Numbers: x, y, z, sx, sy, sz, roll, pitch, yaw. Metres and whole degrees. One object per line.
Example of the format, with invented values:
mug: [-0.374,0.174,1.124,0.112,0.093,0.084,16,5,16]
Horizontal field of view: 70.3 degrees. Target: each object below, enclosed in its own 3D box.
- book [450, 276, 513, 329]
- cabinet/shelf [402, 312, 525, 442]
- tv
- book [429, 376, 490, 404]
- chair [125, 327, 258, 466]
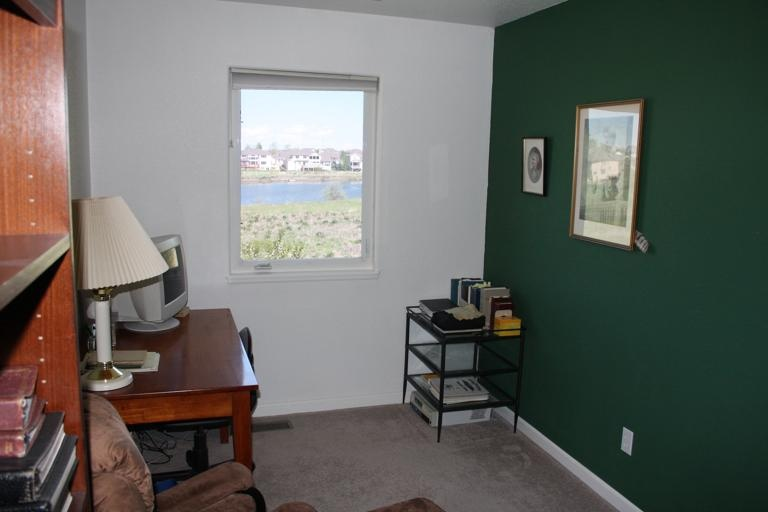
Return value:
book: [0.747,0.252,4.308,0.305,0.572,0.587,-3,10,-15]
cabinet/shelf: [0.610,0.902,4.317,0.800,0.799,0.597,5,4,-29]
tv: [-1.576,0.104,3.596,0.629,0.628,0.557,-2,15,-19]
book: [0.580,1.000,4.188,0.438,0.149,0.379,-2,15,-13]
chair: [-1.066,0.755,3.011,0.609,0.435,0.885,-3,11,-18]
